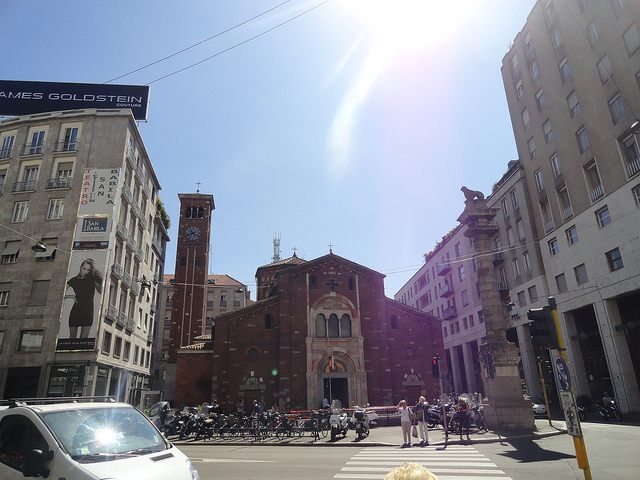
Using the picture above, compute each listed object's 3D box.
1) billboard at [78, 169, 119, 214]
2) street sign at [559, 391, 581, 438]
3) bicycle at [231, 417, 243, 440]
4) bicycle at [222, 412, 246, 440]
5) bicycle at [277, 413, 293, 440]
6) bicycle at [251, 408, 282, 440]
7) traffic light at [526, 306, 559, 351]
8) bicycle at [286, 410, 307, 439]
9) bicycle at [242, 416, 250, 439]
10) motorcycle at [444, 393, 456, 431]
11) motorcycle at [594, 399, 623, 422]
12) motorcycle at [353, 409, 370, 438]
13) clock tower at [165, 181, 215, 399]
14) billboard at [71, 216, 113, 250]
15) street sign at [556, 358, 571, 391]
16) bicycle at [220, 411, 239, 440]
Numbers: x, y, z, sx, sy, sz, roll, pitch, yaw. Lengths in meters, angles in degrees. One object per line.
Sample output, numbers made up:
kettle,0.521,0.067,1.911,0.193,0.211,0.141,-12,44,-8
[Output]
billboard,-17.293,-4.144,33.776,2.579,0.502,4.328,-11,-40,-45
street sign,6.532,4.502,11.279,0.412,1.251,0.568,2,-5,10
bicycle,-5.036,11.371,26.100,0.646,1.247,2.236,3,-5,-12
bicycle,-5.380,11.610,26.415,1.029,1.431,2.831,3,-5,-10
bicycle,-2.053,11.134,25.711,0.857,1.352,2.395,3,-5,-3
bicycle,-3.240,10.759,25.464,1.950,1.213,1.051,4,-45,-7
traffic light,6.264,2.407,12.076,0.853,1.157,0.731,-2,-6,42
bicycle,-1.415,11.287,26.012,1.173,1.058,2.821,3,-5,0
bicycle,-4.452,11.347,26.051,0.467,1.346,2.250,3,-5,-9
motorcycle,7.626,10.023,25.586,0.415,1.789,6.569,1,-5,16
motorcycle,16.586,9.680,24.714,0.990,1.453,2.505,0,-5,26
motorcycle,2.226,10.168,24.040,0.544,1.510,1.410,1,-5,14
clock tower,-15.944,3.314,53.691,3.847,19.148,5.290,4,-5,-18
billboard,-17.300,-0.429,32.640,2.513,3.020,0.289,-1,-27,-6
street sign,6.375,3.493,11.325,0.159,0.799,0.543,3,-5,-5
bicycle,-5.684,11.597,26.622,1.116,1.340,2.135,2,-37,-4
